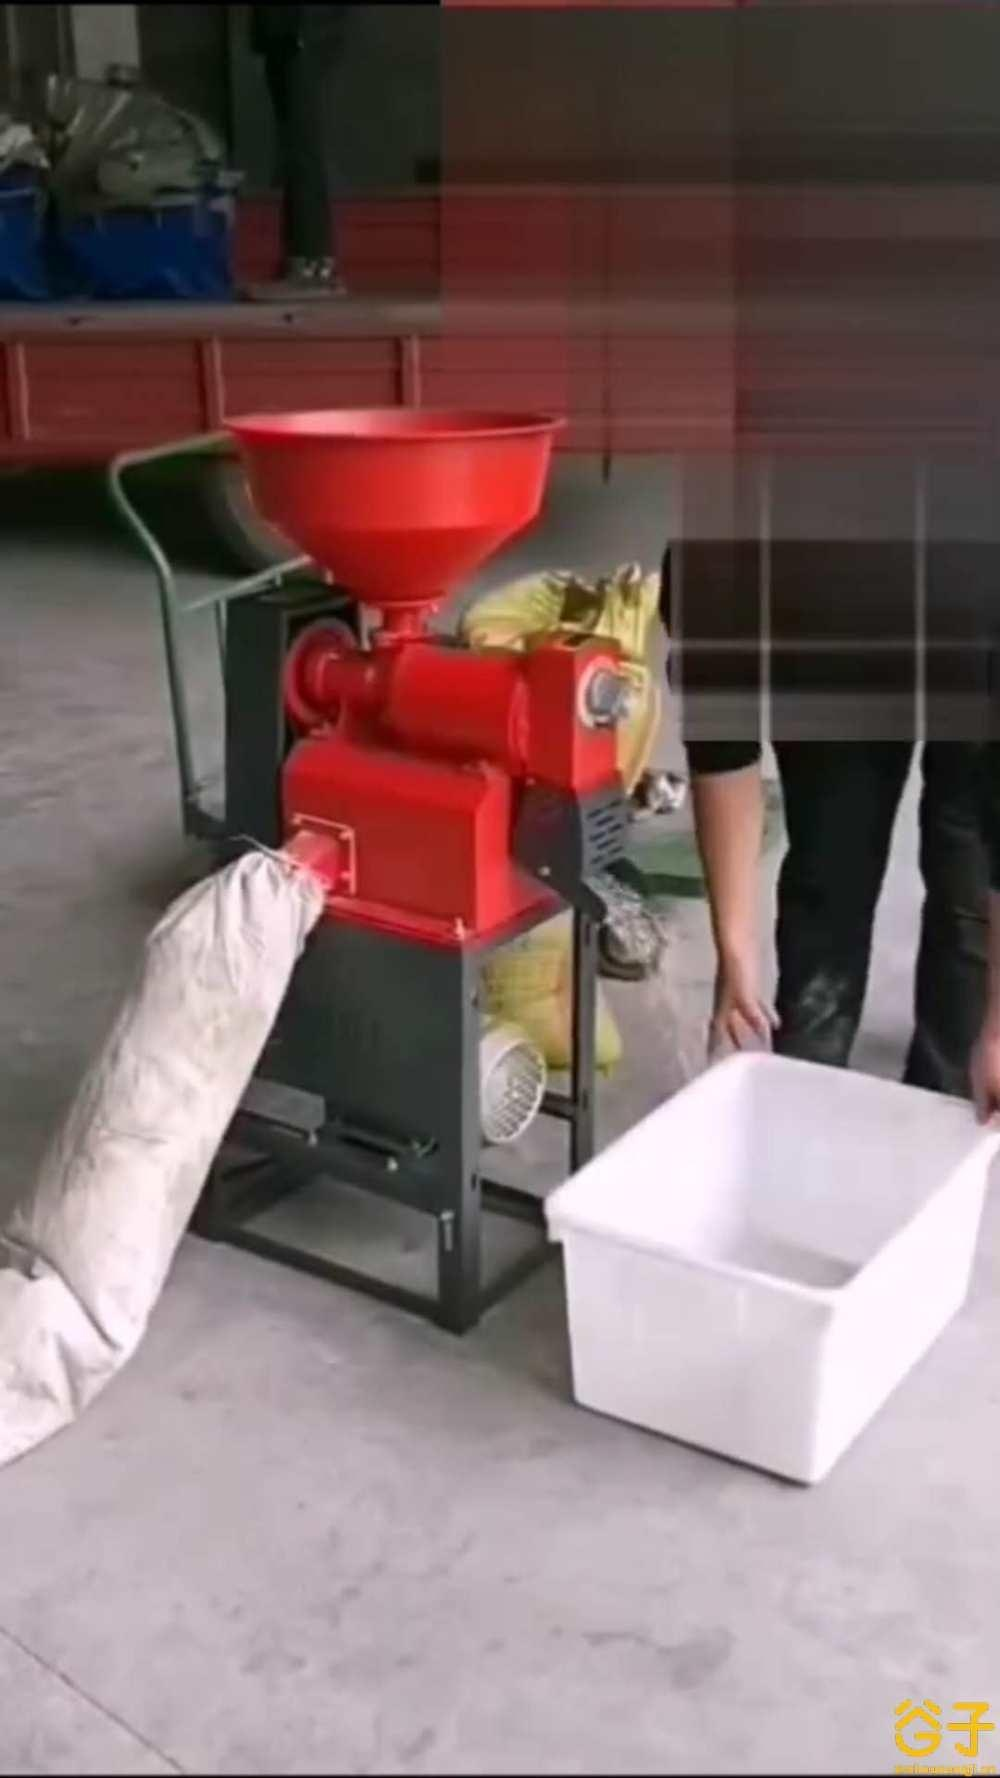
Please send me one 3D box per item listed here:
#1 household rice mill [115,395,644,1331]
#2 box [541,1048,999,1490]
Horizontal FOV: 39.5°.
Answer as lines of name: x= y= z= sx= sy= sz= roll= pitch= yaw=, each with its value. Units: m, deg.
household rice mill: x=-0.119 y=-0.042 z=1.586 sx=0.409 sy=0.971 sz=0.559 roll=-11 pitch=17 yaw=-38
box: x=0.280 y=0.375 z=1.401 sx=0.320 sy=0.260 sz=0.461 roll=8 pitch=16 yaw=32
